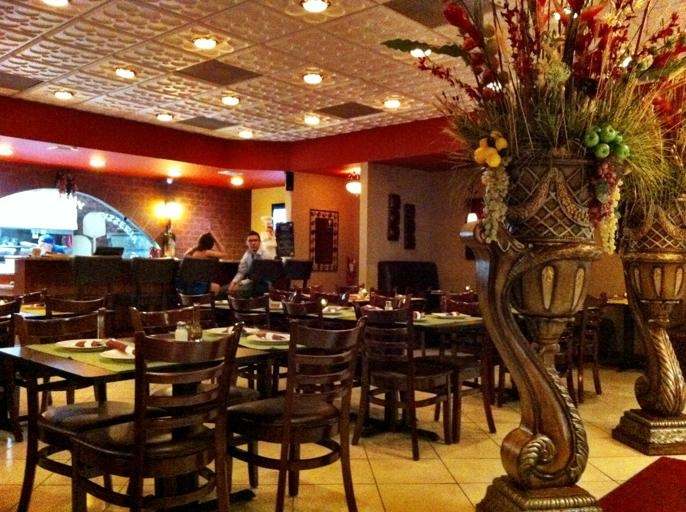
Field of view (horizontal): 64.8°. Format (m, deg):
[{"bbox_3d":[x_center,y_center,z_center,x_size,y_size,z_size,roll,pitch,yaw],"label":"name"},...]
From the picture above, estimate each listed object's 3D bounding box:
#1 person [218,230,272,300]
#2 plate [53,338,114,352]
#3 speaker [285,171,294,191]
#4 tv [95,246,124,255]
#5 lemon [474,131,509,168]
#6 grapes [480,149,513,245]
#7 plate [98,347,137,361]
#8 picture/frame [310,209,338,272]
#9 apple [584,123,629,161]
[{"bbox_3d":[-1.542,0.307,8.720,0.570,1.307,0.895,4,5,42],"label":"person"},{"bbox_3d":[-1.473,0.506,3.054,0.265,0.054,0.232,0,-2,-25],"label":"plate"},{"bbox_3d":[-1.083,-1.503,10.971,0.154,0.408,0.062,-2,-2,1],"label":"speaker"},{"bbox_3d":[-3.817,-0.070,8.841,0.396,0.112,0.483,-1,-2,-14],"label":"tv"},{"bbox_3d":[0.640,-0.441,2.313,0.135,0.066,0.176,35,58,28],"label":"lemon"},{"bbox_3d":[0.646,-0.255,2.303,0.114,0.400,0.122,-2,-2,16],"label":"grapes"},{"bbox_3d":[-1.171,0.513,2.813,0.161,0.021,0.144,2,4,15],"label":"plate"},{"bbox_3d":[-0.423,-0.315,11.607,0.043,1.304,1.118,1,1,33],"label":"picture/frame"},{"bbox_3d":[1.110,-0.472,2.266,0.216,0.149,0.090,-1,-2,0],"label":"apple"}]
